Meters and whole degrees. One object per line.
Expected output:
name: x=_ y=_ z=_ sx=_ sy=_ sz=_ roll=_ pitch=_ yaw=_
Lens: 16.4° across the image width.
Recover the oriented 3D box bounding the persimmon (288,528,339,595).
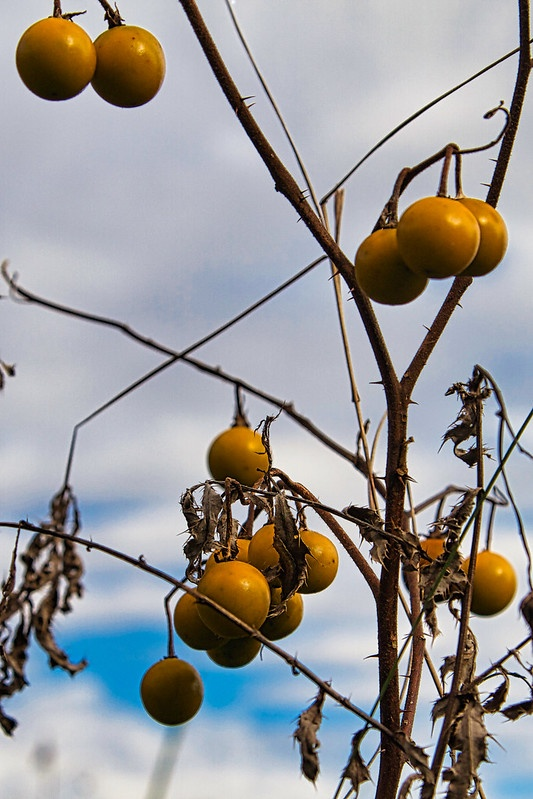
persimmon: x=0.052 y=0.154 z=1.758 sx=0.033 sy=0.041 sz=0.034 roll=-4 pitch=12 yaw=15

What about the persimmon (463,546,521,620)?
persimmon: x=0.227 y=0.195 z=1.909 sx=0.046 sy=0.091 sz=0.066 roll=-6 pitch=-29 yaw=29

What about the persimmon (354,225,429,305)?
persimmon: x=0.113 y=-0.124 z=1.729 sx=0.065 sy=0.080 sz=0.067 roll=1 pitch=-3 yaw=-37

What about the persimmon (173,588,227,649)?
persimmon: x=-0.065 y=0.214 z=1.771 sx=0.046 sy=0.057 sz=0.048 roll=2 pitch=12 yaw=9

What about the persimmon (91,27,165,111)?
persimmon: x=-0.138 y=-0.330 z=1.840 sx=0.072 sy=0.087 sz=0.073 roll=3 pitch=16 yaw=36

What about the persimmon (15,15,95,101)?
persimmon: x=-0.201 y=-0.335 z=1.806 sx=0.068 sy=0.077 sz=0.071 roll=-6 pitch=-29 yaw=28

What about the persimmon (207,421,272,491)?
persimmon: x=-0.032 y=0.065 z=1.911 sx=0.060 sy=0.074 sz=0.063 roll=5 pitch=2 yaw=9

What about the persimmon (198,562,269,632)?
persimmon: x=-0.028 y=0.177 z=1.663 sx=0.057 sy=0.074 sz=0.061 roll=0 pitch=3 yaw=10
